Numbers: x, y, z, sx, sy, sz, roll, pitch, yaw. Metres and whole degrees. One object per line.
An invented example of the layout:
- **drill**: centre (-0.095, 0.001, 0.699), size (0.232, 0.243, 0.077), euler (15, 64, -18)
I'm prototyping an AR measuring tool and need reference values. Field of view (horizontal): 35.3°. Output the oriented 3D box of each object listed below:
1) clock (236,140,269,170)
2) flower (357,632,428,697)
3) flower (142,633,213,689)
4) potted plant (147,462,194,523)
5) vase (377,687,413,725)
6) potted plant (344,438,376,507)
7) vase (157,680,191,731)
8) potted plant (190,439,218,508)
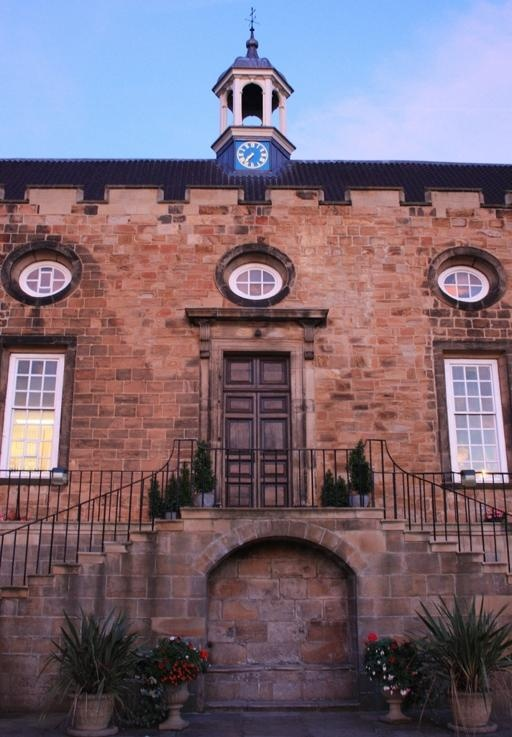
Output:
- **clock**: centre (-0.068, -4.607, 17.690), size (0.642, 0.655, 0.649), euler (-1, 6, -8)
- **flower**: centre (1.369, 2.934, 8.252), size (0.616, 0.671, 0.608), euler (2, 0, -22)
- **flower**: centre (-0.799, 2.886, 8.059), size (0.503, 0.379, 0.540), euler (-1, 2, 3)
- **potted plant**: centre (-1.062, 1.573, 10.131), size (0.494, 0.713, 1.231), euler (3, -18, -12)
- **vase**: centre (1.395, 3.400, 8.125), size (0.364, 0.429, 0.315), euler (1, -1, 5)
- **potted plant**: centre (1.300, 1.329, 10.037), size (0.308, 0.857, 0.639), euler (-3, -18, 7)
- **vase**: centre (-0.781, 3.296, 7.890), size (0.349, 0.485, 0.374), euler (-2, -8, 12)
- **potted plant**: centre (-0.641, 1.290, 9.914), size (0.265, 0.895, 0.602), euler (0, -18, -5)
